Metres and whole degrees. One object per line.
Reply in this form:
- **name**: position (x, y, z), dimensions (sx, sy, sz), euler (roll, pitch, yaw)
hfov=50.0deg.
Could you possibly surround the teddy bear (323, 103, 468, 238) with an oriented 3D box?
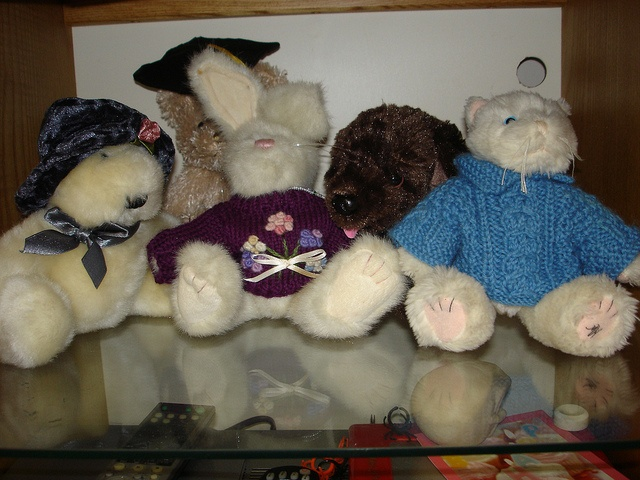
- **teddy bear**: position (0.131, -0.132, 1.196), dimensions (0.212, 0.215, 0.258), euler (10, 27, 41)

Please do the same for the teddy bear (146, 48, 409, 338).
- **teddy bear**: position (-0.066, -0.078, 1.205), dimensions (0.452, 0.430, 0.307), euler (4, 26, 1)

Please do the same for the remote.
- **remote**: position (-0.254, 0.329, 1.047), dimensions (0.185, 0.131, 0.112), euler (1, 26, -5)
